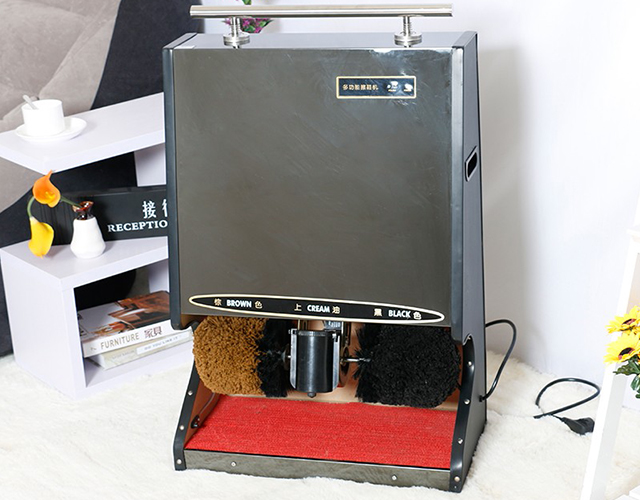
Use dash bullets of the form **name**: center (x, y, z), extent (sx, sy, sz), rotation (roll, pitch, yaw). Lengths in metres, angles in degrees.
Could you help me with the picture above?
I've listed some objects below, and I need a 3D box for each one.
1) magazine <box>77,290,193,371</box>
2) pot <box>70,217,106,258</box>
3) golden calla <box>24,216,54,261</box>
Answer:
- **magazine**: center (-0.433, 0.178, 1.297), extent (0.203, 0.050, 0.196), rotation (-17, 42, -25)
- **pot**: center (-0.503, -0.031, 1.205), extent (0.066, 0.088, 0.067), rotation (0, 21, 0)
- **golden calla**: center (-0.603, -0.035, 1.204), extent (0.053, 0.090, 0.088), rotation (-10, 24, -25)
